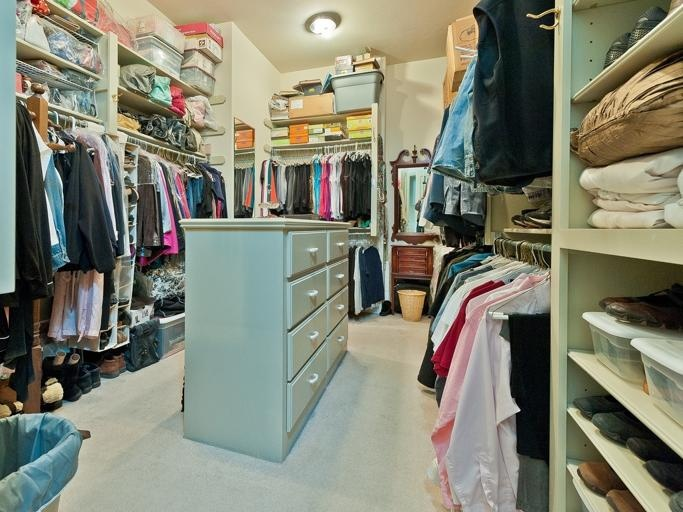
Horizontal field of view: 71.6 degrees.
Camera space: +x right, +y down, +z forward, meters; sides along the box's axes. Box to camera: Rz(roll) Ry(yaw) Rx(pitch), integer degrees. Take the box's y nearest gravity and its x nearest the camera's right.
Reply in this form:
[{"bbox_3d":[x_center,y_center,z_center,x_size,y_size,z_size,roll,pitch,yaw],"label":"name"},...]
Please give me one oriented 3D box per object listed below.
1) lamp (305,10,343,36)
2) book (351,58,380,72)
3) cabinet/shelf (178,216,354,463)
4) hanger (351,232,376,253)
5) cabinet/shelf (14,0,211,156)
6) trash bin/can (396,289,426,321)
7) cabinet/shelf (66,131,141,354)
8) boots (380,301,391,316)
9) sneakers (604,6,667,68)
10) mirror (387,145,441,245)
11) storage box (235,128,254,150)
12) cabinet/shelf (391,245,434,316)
[{"bbox_3d":[-0.170,-2.115,4.353,0.334,0.094,0.435,-4,6,-9],"label":"lamp"},{"bbox_3d":[0.237,-1.858,4.656,0.170,0.070,0.169,2,11,25],"label":"book"},{"bbox_3d":[-0.332,0.301,2.997,0.597,1.204,1.347,3,8,15],"label":"cabinet/shelf"},{"bbox_3d":[0.216,-0.102,4.954,0.267,0.107,0.170,0,-4,-10],"label":"hanger"},{"bbox_3d":[-1.707,-1.273,3.359,0.475,0.919,1.237,-2,6,10],"label":"cabinet/shelf"},{"bbox_3d":[0.686,0.481,4.611,0.256,0.246,0.269,0,-1,10],"label":"trash bin/can"},{"bbox_3d":[-1.522,-0.076,3.040,0.328,1.443,0.523,-4,6,-15],"label":"cabinet/shelf"},{"bbox_3d":[0.472,0.558,4.960,0.094,0.157,0.109,8,-6,26],"label":"boots"},{"bbox_3d":[1.056,-0.801,1.762,0.116,0.132,0.354,-35,10,21],"label":"sneakers"},{"bbox_3d":[0.817,-0.592,5.102,0.531,1.102,0.087,1,24,16],"label":"mirror"},{"bbox_3d":[-0.933,-1.121,4.582,0.185,0.160,0.191,2,8,11],"label":"storage box"},{"bbox_3d":[0.698,0.287,4.852,0.428,0.695,0.451,-1,-17,18],"label":"cabinet/shelf"}]
